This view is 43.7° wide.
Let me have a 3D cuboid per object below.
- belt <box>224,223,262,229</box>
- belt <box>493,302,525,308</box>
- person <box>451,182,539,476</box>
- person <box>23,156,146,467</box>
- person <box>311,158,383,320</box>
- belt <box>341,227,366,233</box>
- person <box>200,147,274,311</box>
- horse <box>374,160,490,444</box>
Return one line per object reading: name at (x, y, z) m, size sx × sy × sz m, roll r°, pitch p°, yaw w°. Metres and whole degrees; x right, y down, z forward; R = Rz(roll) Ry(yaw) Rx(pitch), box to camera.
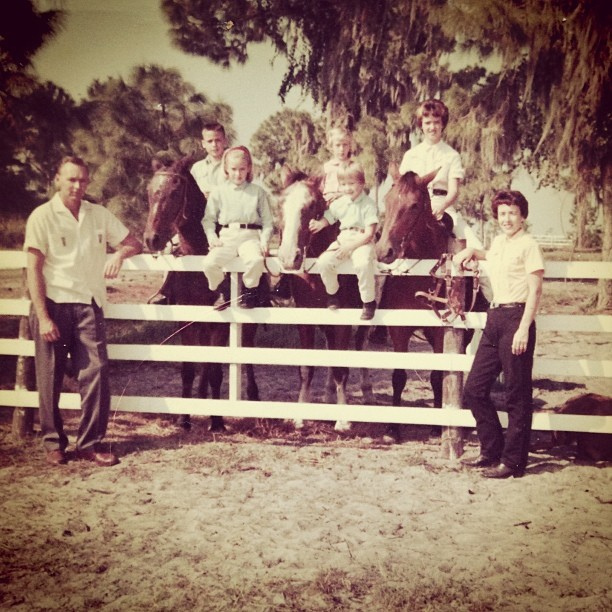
belt at (-0.597, -0.752, 7.163) m, size 0.347 × 0.037 × 0.121 m, roll 1°, pitch 0°, yaw -12°
belt at (1.747, -0.011, 6.457) m, size 0.216 × 0.043 × 0.052 m, roll 1°, pitch 0°, yaw 36°
person at (1.690, 0.240, 6.547) m, size 0.618 × 2.274 × 0.321 m, roll 1°, pitch 0°, yaw 28°
person at (-2.046, 0.056, 6.767) m, size 0.872 × 2.709 × 0.340 m, roll 1°, pitch 0°, yaw -24°
person at (0.359, -0.600, 7.016) m, size 0.608 × 1.158 × 0.671 m, roll 1°, pitch 0°, yaw 3°
belt at (0.430, -0.699, 6.965) m, size 0.201 × 0.040 × 0.060 m, roll 1°, pitch 0°, yaw 8°
person at (-0.651, -0.734, 7.093) m, size 0.660 × 1.086 × 0.534 m, roll 1°, pitch 0°, yaw -2°
horse at (1.076, -0.062, 7.350) m, size 0.835 × 2.308 × 1.255 m, roll 1°, pitch 0°, yaw 44°
